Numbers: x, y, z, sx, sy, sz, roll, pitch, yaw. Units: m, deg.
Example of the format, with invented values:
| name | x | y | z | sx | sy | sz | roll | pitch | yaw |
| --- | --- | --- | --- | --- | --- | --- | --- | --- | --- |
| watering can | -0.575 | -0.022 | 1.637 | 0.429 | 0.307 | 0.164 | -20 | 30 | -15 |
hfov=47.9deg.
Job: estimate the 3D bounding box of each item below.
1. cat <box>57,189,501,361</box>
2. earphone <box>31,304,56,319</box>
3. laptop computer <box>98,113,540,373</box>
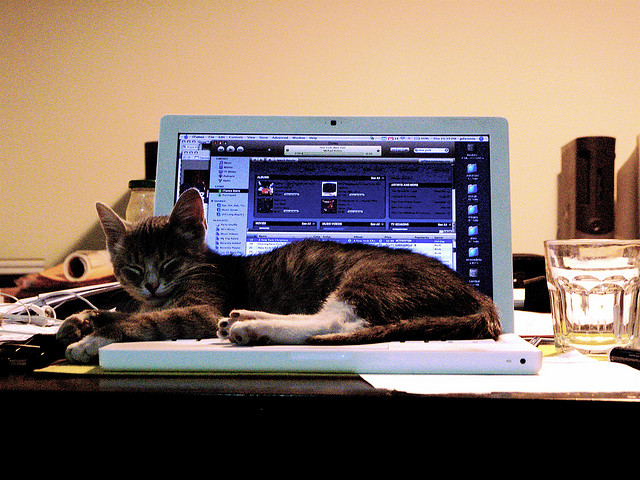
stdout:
| name | x | y | z | sx | sy | sz | roll | pitch | yaw |
| --- | --- | --- | --- | --- | --- | --- | --- | --- | --- |
| cat | -0.058 | 0.126 | 1.668 | 1.043 | 0.378 | 0.371 | 1 | -13 | 4 |
| earphone | -0.677 | 0.170 | 1.761 | 0.048 | 0.024 | 0.034 | 4 | -3 | 23 |
| laptop computer | 0.007 | -0.017 | 1.568 | 0.866 | 0.557 | 0.322 | 1 | 1 | 0 |
